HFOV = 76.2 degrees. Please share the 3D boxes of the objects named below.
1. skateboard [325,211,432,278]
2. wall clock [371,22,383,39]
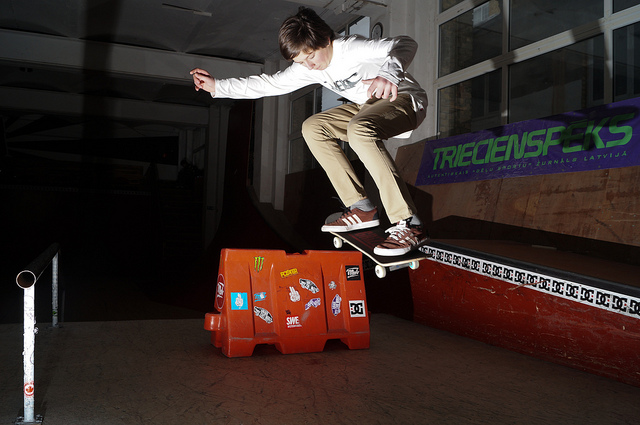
[{"bbox_3d":[0.453,0.302,3.486,0.406,0.205,1.226,-6,14,-23],"label":"skateboard"},{"bbox_3d":[0.947,-3.060,6.869,0.052,0.279,0.327,0,6,-24],"label":"wall clock"}]
